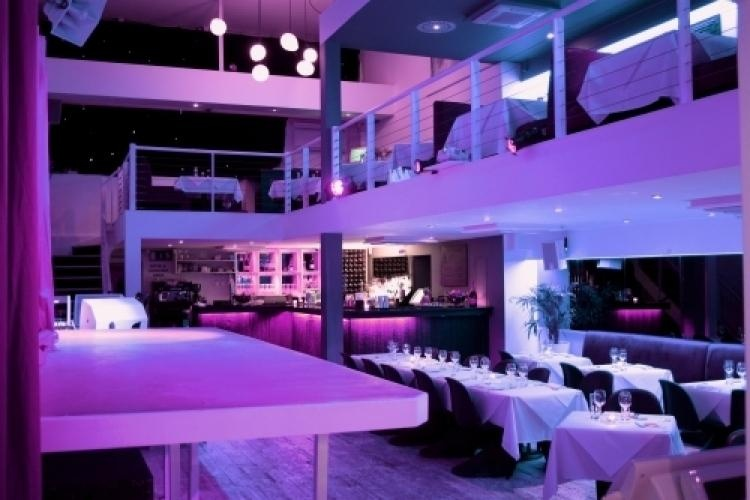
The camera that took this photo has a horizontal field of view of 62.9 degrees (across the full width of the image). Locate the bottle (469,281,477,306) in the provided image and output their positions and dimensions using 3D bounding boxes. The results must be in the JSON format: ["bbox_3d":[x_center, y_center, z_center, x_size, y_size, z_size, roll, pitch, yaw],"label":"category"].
[{"bbox_3d":[1.761,0.784,11.091,0.170,0.423,0.333,0,0,11],"label":"bottle"}]

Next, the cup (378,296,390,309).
[{"bbox_3d":[0.140,0.909,10.624,0.156,0.224,0.222,0,1,-18],"label":"cup"}]

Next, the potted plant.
[{"bbox_3d":[2.918,1.038,10.079,1.093,0.941,0.991,2,1,43],"label":"potted plant"}]

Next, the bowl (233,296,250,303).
[{"bbox_3d":[-2.772,1.016,12.801,0.319,0.162,0.303,0,-1,0],"label":"bowl"}]

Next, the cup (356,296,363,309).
[{"bbox_3d":[-0.271,0.902,10.410,0.139,0.200,0.346,0,-1,-2],"label":"cup"}]

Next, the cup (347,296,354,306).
[{"bbox_3d":[-0.500,1.027,12.460,0.134,0.267,0.139,1,-3,0],"label":"cup"}]

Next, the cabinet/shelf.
[{"bbox_3d":[-1.733,0.588,14.596,5.959,1.315,1.673,-1,-1,17],"label":"cabinet/shelf"}]
